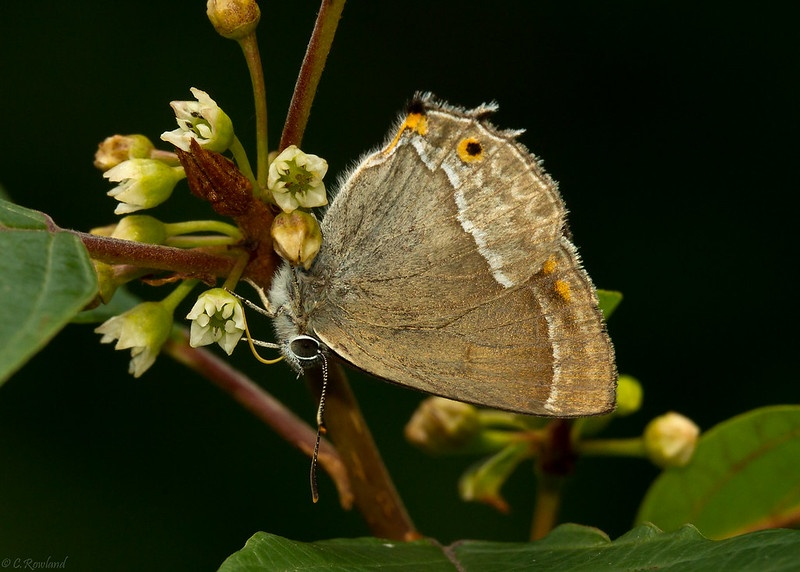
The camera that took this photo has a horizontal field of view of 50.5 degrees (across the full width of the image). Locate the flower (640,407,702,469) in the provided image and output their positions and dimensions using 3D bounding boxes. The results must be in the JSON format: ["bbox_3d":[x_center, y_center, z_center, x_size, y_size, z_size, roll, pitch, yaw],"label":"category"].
[{"bbox_3d":[1.036,0.563,3.137,0.175,0.201,0.286,0,-13,-10],"label":"flower"}]
